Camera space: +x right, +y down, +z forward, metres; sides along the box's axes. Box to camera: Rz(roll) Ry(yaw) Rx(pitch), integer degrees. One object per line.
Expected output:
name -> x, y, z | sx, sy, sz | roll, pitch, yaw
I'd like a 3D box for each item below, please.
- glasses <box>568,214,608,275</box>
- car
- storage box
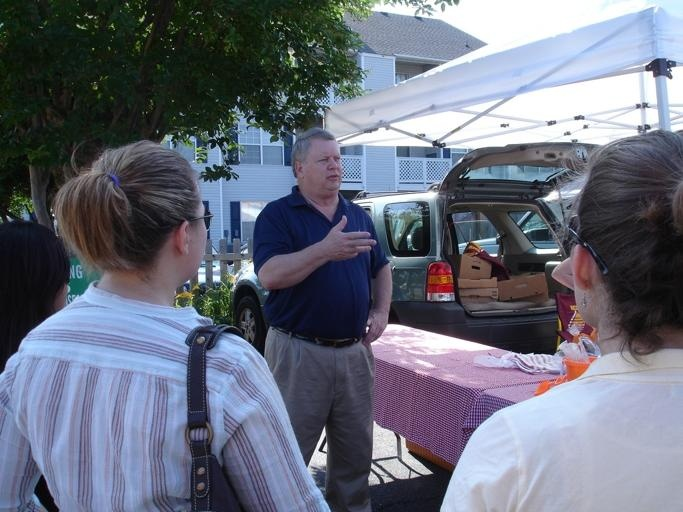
glasses -> 0.589, -0.027, 1.523 | 0.113, 0.031, 0.115 | 53, 7, 31
car -> 0.935, -0.068, 6.931 | 2.007, 1.938, 3.243 | 0, 5, -35
storage box -> 1.529, 0.285, 6.227 | 0.693, 0.438, 0.682 | 1, -3, -27
